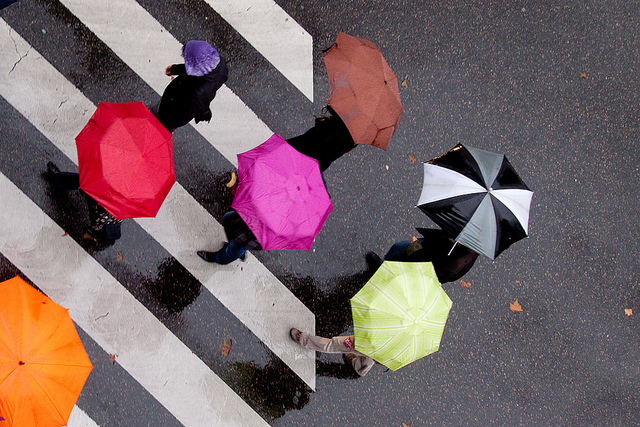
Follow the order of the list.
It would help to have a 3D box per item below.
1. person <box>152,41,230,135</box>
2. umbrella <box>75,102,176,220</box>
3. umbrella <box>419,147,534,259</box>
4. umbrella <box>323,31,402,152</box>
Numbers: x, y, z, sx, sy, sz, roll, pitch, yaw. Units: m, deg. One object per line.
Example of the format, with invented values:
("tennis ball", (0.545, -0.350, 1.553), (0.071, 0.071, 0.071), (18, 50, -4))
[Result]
("person", (-2.050, -1.919, 15.746), (0.508, 1.206, 0.592), (30, 64, -24))
("umbrella", (-2.840, -0.788, 15.088), (1.475, 0.524, 1.529), (30, 78, 8))
("umbrella", (2.369, -0.207, 15.593), (1.545, 0.549, 1.588), (-42, 96, -26))
("umbrella", (0.638, -1.703, 16.023), (0.530, 1.525, 1.707), (-24, 114, -23))
